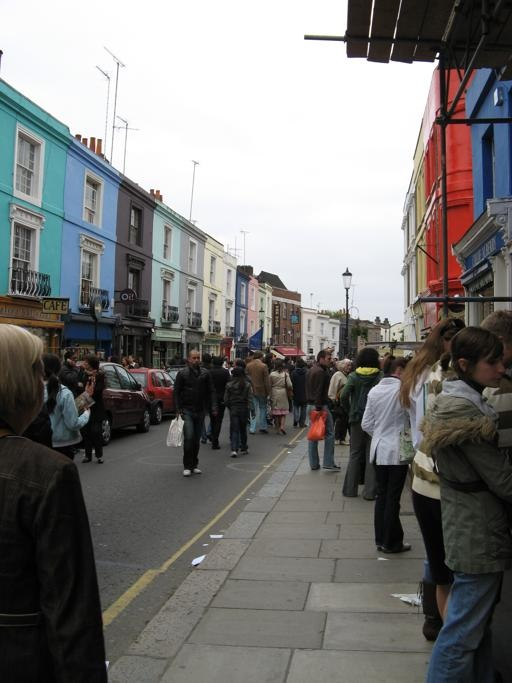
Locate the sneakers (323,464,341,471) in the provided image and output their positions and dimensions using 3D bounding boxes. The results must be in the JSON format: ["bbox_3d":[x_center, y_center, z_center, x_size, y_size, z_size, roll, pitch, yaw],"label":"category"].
[{"bbox_3d":[1.208,1.994,9.835,0.270,0.113,0.102,1,-5,2],"label":"sneakers"}]

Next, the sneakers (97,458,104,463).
[{"bbox_3d":[-2.612,2.009,10.475,0.058,0.069,0.161,0,-10,-7],"label":"sneakers"}]

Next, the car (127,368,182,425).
[{"bbox_3d":[-2.809,1.478,16.844,1.300,1.268,2.341,-2,2,21],"label":"car"}]

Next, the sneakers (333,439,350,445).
[{"bbox_3d":[1.874,2.167,13.297,0.387,0.175,0.131,0,2,-8],"label":"sneakers"}]

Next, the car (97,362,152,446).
[{"bbox_3d":[-2.968,1.265,13.299,0.894,0.920,1.685,-1,1,15],"label":"car"}]

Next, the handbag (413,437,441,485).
[{"bbox_3d":[0.899,0.621,3.326,0.133,0.262,0.209,-1,2,-13],"label":"handbag"}]

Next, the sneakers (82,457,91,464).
[{"bbox_3d":[-2.864,2.013,10.553,0.081,0.070,0.161,-4,-14,23],"label":"sneakers"}]

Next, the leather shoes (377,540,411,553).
[{"bbox_3d":[1.213,1.751,5.394,0.301,0.127,0.103,-1,-1,-20],"label":"leather shoes"}]
